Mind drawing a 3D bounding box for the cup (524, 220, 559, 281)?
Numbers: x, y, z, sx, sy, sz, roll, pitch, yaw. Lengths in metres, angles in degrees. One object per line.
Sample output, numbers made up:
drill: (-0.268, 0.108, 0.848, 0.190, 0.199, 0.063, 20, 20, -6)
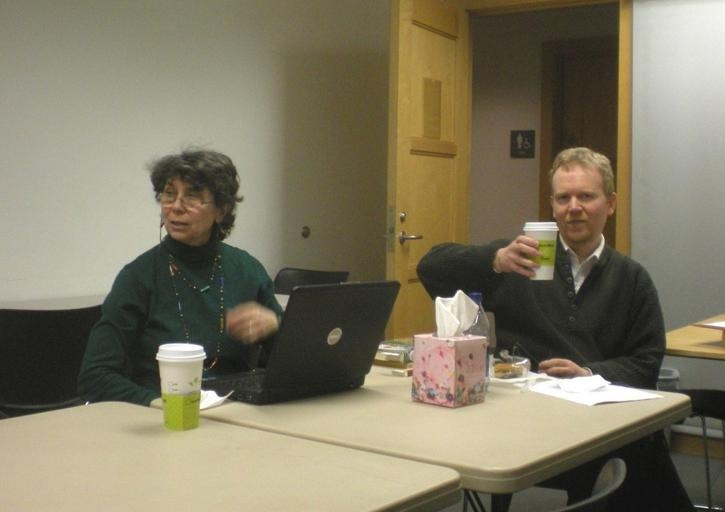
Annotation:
cup: (0.558, -0.013, 1.827, 0.093, 0.187, 0.155, 5, 7, 39)

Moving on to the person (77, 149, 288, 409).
person: (-0.625, 0.111, 2.158, 0.732, 0.956, 0.583, -7, 11, -41)

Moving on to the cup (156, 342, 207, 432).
cup: (-0.452, 0.319, 1.434, 0.143, 0.206, 0.145, 1, -1, 0)

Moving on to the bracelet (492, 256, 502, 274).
bracelet: (0.468, 0.029, 2.054, 0.042, 0.045, 0.044, -1, 5, 0)
